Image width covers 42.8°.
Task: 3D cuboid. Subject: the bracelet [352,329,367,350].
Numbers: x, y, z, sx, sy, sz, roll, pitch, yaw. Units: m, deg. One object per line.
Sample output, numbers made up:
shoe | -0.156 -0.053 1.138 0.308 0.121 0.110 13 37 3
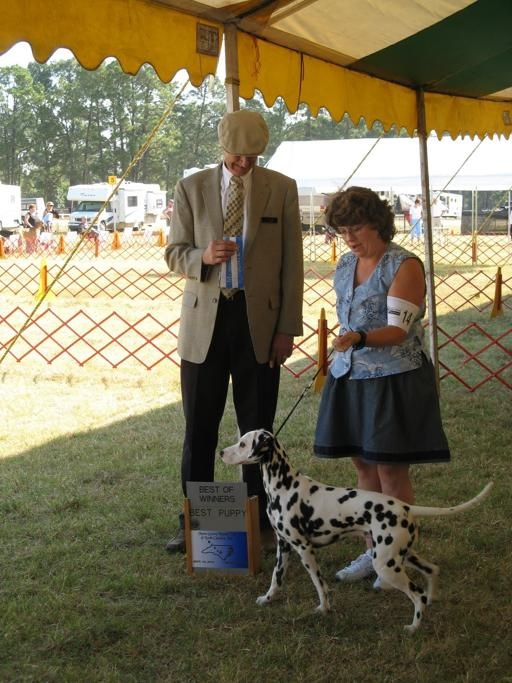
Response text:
bracelet | 0.364 -0.009 2.402 0.046 0.068 0.061 15 36 -24

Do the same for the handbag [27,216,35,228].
handbag | -7.885 -4.185 22.976 0.094 0.323 0.350 -5 4 24

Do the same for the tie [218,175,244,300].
tie | -0.098 -0.428 2.690 0.105 0.491 0.180 -1 7 1

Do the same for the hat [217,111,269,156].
hat | -0.052 -0.826 2.582 0.195 0.203 0.198 -1 7 -3
